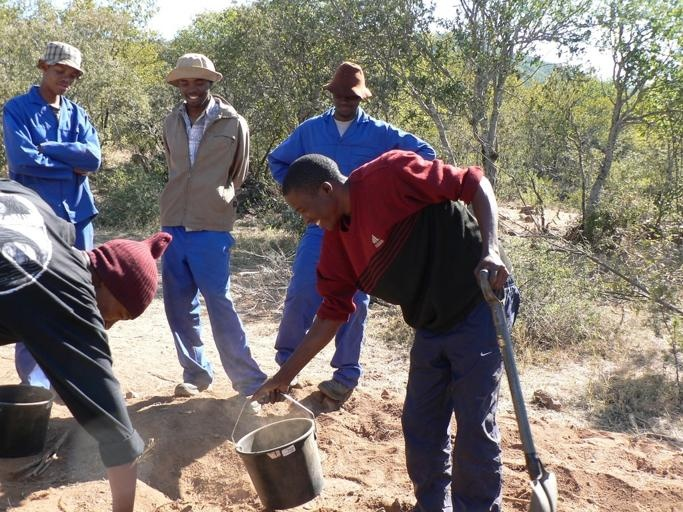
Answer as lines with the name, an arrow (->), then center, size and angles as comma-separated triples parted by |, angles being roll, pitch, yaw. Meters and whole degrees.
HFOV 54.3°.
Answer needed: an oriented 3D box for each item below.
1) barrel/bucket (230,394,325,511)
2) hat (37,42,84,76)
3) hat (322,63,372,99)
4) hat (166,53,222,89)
barrel/bucket -> -0.470, 1.444, 4.783 | 0.468, 0.767, 0.468 | -21, 9, 3
hat -> -2.503, -1.812, 5.916 | 0.257, 0.203, 0.341 | 9, -6, -40
hat -> 0.076, -1.545, 6.081 | 0.368, 0.238, 0.338 | 16, 11, -46
hat -> -1.253, -1.624, 5.676 | 0.315, 0.150, 0.296 | -3, -1, -30
